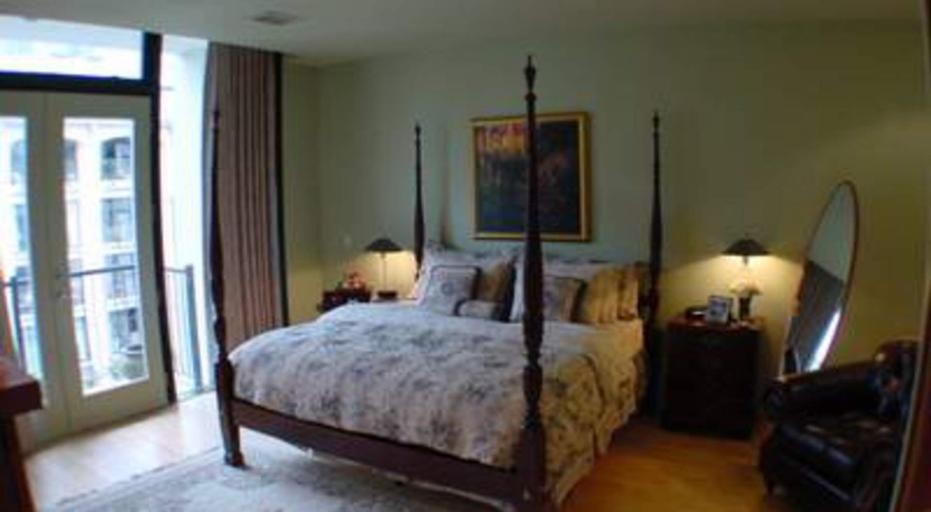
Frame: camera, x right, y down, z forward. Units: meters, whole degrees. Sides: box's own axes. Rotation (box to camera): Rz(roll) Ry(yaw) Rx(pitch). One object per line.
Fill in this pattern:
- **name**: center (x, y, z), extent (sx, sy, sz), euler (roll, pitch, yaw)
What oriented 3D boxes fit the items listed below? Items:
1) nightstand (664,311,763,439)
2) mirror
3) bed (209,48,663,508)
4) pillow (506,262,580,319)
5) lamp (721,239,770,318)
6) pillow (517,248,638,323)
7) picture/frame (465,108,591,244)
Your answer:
- **nightstand**: center (0.969, 0.490, 2.684), extent (0.373, 0.446, 0.260), euler (3, 1, 6)
- **mirror**: center (1.373, 0.088, 2.508), extent (0.292, 0.742, 0.056), euler (-2, 9, -22)
- **bed**: center (0.146, 0.041, 3.486), extent (2.032, 1.664, 2.025), euler (0, 3, 33)
- **pillow**: center (0.416, 0.176, 2.873), extent (0.264, 0.248, 0.076), euler (13, 16, 17)
- **lamp**: center (1.066, 0.089, 2.498), extent (0.160, 0.317, 0.049), euler (4, 9, 14)
- **pillow**: center (0.530, 0.160, 2.727), extent (0.404, 0.277, 0.080), euler (5, 9, 24)
- **picture/frame**: center (0.282, -0.342, 2.713), extent (0.601, 0.530, 0.059), euler (2, 8, 30)
